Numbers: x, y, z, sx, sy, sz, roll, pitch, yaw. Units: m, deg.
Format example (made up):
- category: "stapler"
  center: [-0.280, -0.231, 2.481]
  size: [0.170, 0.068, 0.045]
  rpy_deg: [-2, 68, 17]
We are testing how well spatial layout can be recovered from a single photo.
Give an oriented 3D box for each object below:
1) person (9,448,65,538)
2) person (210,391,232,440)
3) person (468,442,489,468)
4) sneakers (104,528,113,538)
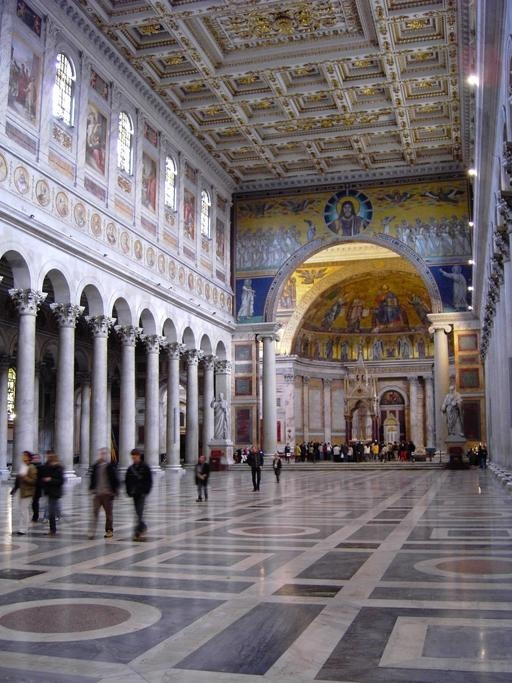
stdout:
- category: "person"
  center: [-3.320, 2.299, 9.944]
  size: [0.742, 1.200, 1.561]
  rpy_deg: [2, -7, -18]
- category: "person"
  center: [-1.812, 3.986, 33.789]
  size: [0.770, 2.448, 1.015]
  rpy_deg: [4, -8, -34]
- category: "person"
  center: [10.792, 5.606, 31.756]
  size: [0.850, 1.069, 1.763]
  rpy_deg: [-2, -7, 17]
- category: "sneakers"
  center: [-2.046, 2.670, 9.026]
  size: [0.090, 0.095, 0.150]
  rpy_deg: [4, -28, -11]
